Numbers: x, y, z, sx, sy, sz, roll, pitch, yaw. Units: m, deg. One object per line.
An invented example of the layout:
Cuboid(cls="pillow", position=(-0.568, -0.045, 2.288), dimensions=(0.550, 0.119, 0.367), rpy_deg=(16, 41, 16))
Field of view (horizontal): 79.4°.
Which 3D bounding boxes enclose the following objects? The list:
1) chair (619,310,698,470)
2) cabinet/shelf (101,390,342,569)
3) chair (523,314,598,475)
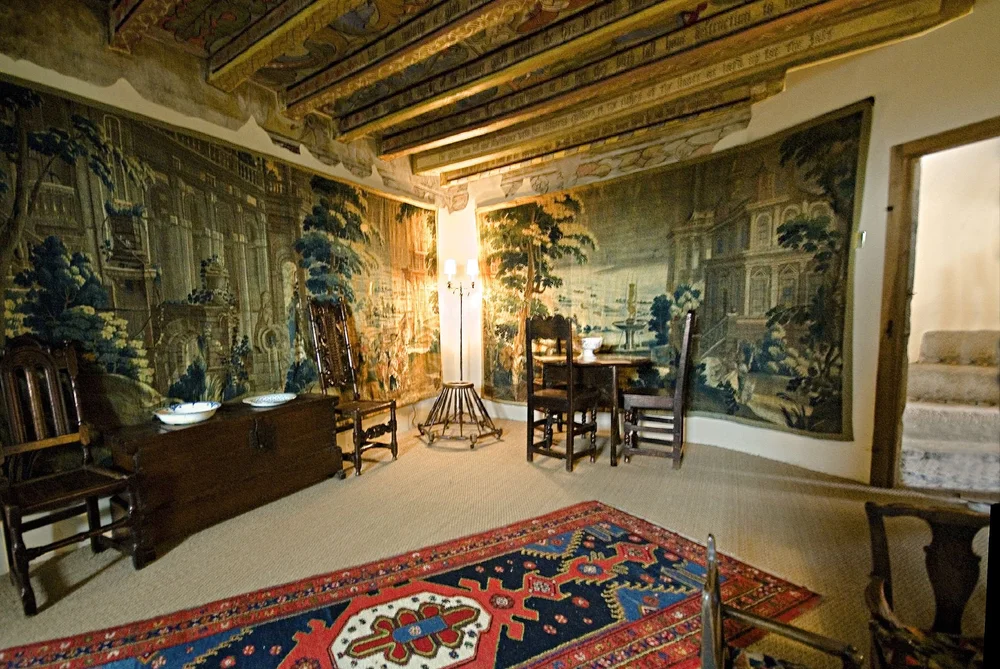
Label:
Cuboid(cls="chair", position=(1.717, 0.522, 6.576), dimensions=(0.718, 1.615, 0.997), rpy_deg=(3, 12, 19))
Cuboid(cls="cabinet/shelf", position=(-2.476, 1.175, 5.749), dimensions=(0.780, 0.989, 2.170), rpy_deg=(6, 10, 33))
Cuboid(cls="chair", position=(0.727, 0.531, 6.832), dimensions=(0.796, 1.638, 1.554), rpy_deg=(0, 11, 7))
